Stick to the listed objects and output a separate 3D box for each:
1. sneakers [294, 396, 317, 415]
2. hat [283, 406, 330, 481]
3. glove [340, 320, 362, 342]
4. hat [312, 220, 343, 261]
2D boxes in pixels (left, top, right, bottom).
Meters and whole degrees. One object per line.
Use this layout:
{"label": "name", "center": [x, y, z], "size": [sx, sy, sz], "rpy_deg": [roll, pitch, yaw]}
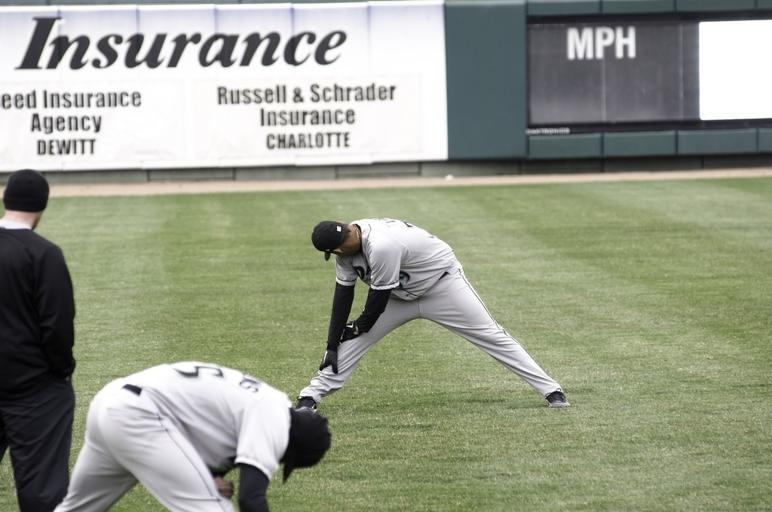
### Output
{"label": "sneakers", "center": [-1.059, 2.044, 21.141], "size": [0.295, 0.215, 0.184], "rpy_deg": [13, -51, -23]}
{"label": "hat", "center": [-1.081, 2.397, 19.323], "size": [0.314, 0.573, 0.781], "rpy_deg": [-3, -33, -43]}
{"label": "glove", "center": [-0.487, 1.059, 21.313], "size": [0.317, 0.120, 0.232], "rpy_deg": [-41, 14, 9]}
{"label": "hat", "center": [-0.769, -0.220, 20.774], "size": [0.342, 0.454, 0.258], "rpy_deg": [-35, -52, 30]}
